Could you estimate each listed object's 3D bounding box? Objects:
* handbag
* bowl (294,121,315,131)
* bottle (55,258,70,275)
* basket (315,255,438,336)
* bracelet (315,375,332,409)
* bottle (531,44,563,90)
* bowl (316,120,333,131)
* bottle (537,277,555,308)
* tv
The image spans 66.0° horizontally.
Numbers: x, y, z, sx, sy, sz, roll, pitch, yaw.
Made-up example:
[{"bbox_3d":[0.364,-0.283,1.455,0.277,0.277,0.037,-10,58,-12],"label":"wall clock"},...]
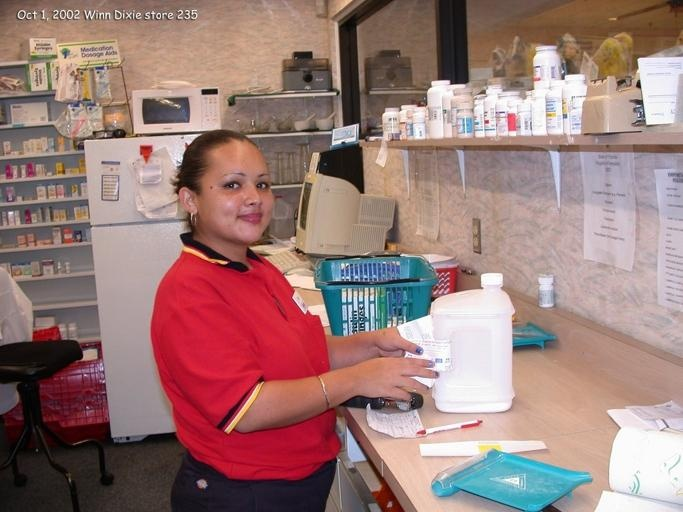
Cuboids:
[{"bbox_3d":[-1.881,1.006,3.701,0.661,0.600,0.595,-7,46,-13],"label":"handbag"},{"bbox_3d":[-0.325,-1.139,4.678,0.115,0.065,0.107,-3,11,1],"label":"bowl"},{"bbox_3d":[-2.679,0.105,5.061,0.161,0.142,0.050,-3,0,1],"label":"bottle"},{"bbox_3d":[0.132,0.138,2.009,0.416,0.186,0.310,-2,4,-3],"label":"basket"},{"bbox_3d":[-0.042,0.352,1.362,0.017,0.064,0.061,-6,-10,3],"label":"bracelet"},{"bbox_3d":[0.628,-0.572,1.597,0.085,0.114,0.076,-1,22,21],"label":"bottle"},{"bbox_3d":[-0.138,-1.152,4.675,0.119,0.064,0.111,0,10,0],"label":"bowl"},{"bbox_3d":[0.774,0.130,1.995,0.062,0.124,0.057,-4,9,1],"label":"bottle"},{"bbox_3d":[0.020,-0.270,3.520,0.675,0.405,0.592,1,7,-30],"label":"tv"}]
